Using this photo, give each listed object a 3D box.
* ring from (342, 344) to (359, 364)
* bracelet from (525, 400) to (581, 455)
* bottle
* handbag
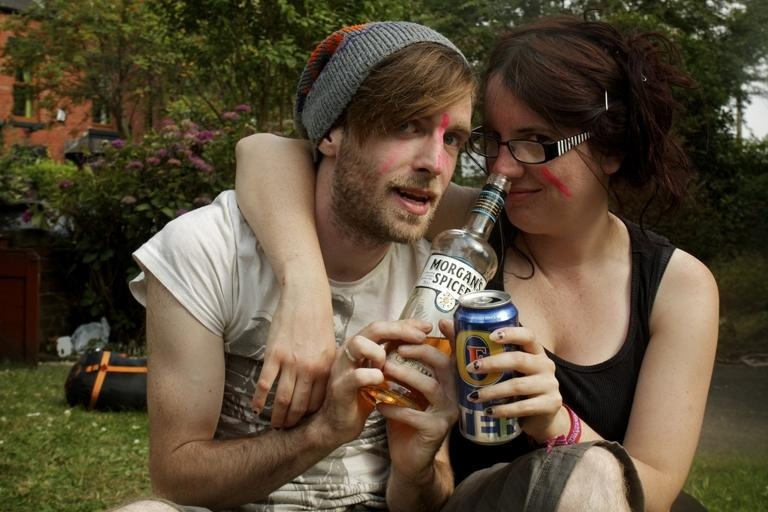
[{"bbox_3d":[-0.183,0.506,3.426,0.034,0.089,0.074,-39,11,-18],"label":"ring"},{"bbox_3d":[0.878,0.897,3.561,0.207,0.263,0.248,-6,-5,38],"label":"bracelet"},{"bbox_3d":[0.299,0.102,3.510,0.469,1.643,0.472,6,-14,1],"label":"bottle"},{"bbox_3d":[-2.566,1.163,6.155,0.722,0.532,0.587,-15,35,-16],"label":"handbag"}]
